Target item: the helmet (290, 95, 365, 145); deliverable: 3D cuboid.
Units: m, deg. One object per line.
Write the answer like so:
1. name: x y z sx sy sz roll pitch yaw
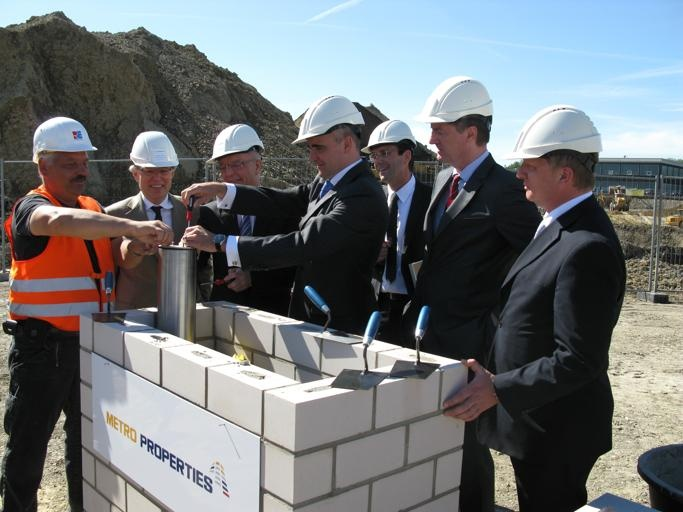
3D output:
1. helmet: -0.068 -0.865 4.024 0.393 0.292 0.345 7 -1 -3

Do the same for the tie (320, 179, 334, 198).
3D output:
1. tie: -0.108 -0.453 4.242 0.043 0.136 0.080 6 37 -46

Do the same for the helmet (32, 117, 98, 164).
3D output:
1. helmet: -1.850 -0.726 4.147 0.349 0.210 0.269 0 6 33

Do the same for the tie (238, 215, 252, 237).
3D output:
1. tie: -0.774 -0.251 5.132 0.106 0.175 0.042 -1 -7 18

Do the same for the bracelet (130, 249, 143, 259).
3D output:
1. bracelet: -1.353 -0.017 4.208 0.048 0.042 0.052 2 -1 10

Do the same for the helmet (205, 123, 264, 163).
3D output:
1. helmet: -0.871 -0.934 5.217 0.264 0.226 0.376 -6 3 31

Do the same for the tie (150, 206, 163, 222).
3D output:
1. tie: -1.439 -0.330 4.916 0.091 0.173 0.049 1 -21 -16

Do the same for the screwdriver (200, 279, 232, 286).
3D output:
1. screwdriver: -0.990 0.199 5.009 0.223 0.058 0.056 -2 5 0

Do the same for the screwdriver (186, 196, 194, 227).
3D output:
1. screwdriver: -0.983 -0.296 4.112 0.034 0.215 0.029 2 -7 -8

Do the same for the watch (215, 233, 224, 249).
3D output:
1. watch: -0.710 -0.092 3.726 0.048 0.084 0.074 5 -8 -2
